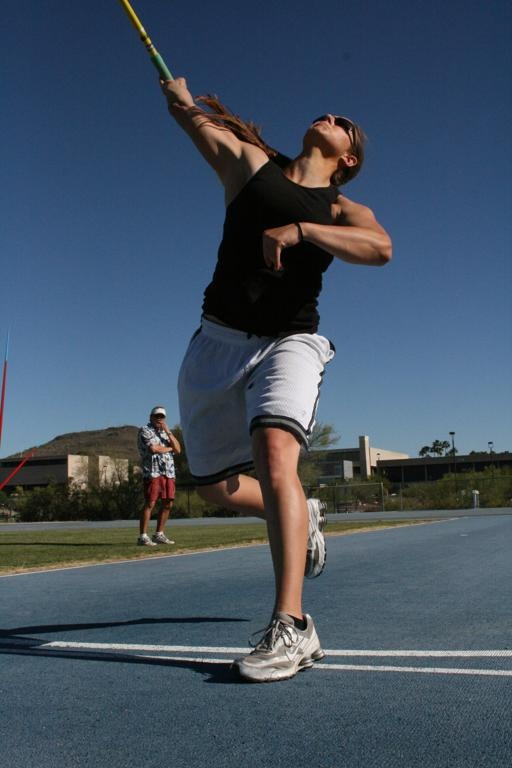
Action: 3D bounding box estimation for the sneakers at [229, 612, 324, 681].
[{"bbox_3d":[0.071,0.717,1.519,0.119,0.151,0.328,-14,-17,39],"label":"sneakers"}]

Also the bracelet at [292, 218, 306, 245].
[{"bbox_3d":[0.145,-0.538,1.918,0.062,0.084,0.042,-4,-3,-28],"label":"bracelet"}]
